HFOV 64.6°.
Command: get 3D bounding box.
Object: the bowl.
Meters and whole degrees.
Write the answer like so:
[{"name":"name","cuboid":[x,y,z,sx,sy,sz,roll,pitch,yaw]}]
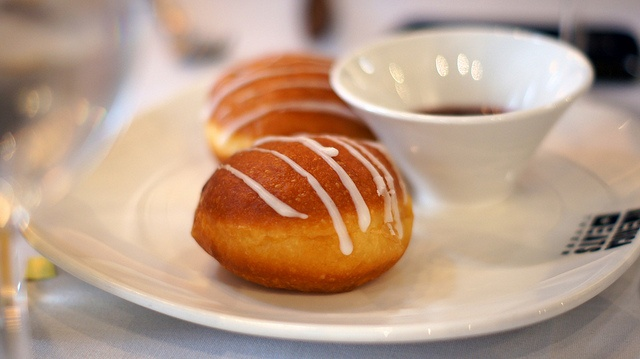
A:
[{"name":"bowl","cuboid":[0.241,-0.142,0.883,0.361,0.153,0.342,-4,27,2]}]
